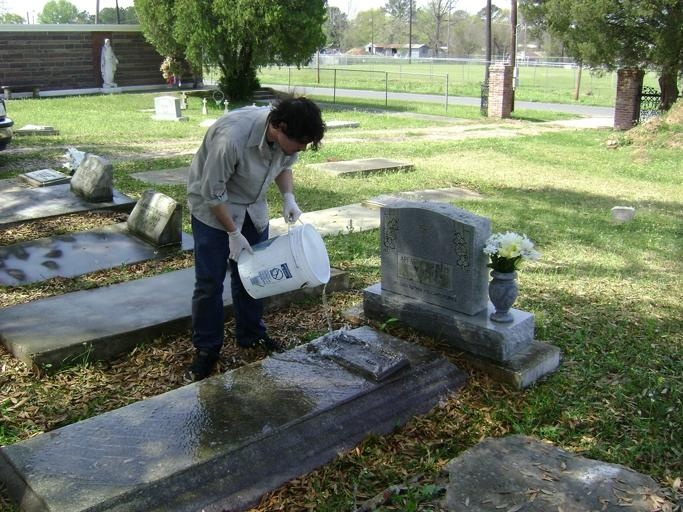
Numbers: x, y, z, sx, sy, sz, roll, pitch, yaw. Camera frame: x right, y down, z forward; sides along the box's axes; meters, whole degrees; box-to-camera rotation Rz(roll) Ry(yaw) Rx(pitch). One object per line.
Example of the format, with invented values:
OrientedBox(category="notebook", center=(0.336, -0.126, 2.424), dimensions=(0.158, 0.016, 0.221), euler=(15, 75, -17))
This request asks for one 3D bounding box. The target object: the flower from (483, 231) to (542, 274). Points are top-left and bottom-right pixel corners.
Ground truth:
OrientedBox(category="flower", center=(1.267, -0.007, 4.223), dimensions=(0.332, 0.258, 0.330), euler=(8, 3, -32))

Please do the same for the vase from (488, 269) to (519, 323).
OrientedBox(category="vase", center=(1.243, 0.301, 4.276), dimensions=(0.206, 0.398, 0.197), euler=(4, 18, 12))

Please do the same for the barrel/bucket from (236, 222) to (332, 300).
OrientedBox(category="barrel/bucket", center=(-0.470, 0.090, 4.206), dimensions=(0.565, 0.349, 0.409), euler=(-20, 27, 8))

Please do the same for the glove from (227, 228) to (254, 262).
OrientedBox(category="glove", center=(-0.764, -0.087, 4.108), dimensions=(0.173, 0.265, 0.208), euler=(-9, 20, -26))

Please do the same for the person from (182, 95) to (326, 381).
OrientedBox(category="person", center=(-0.685, -0.123, 4.089), dimensions=(0.978, 2.018, 0.605), euler=(-1, 18, -4))
